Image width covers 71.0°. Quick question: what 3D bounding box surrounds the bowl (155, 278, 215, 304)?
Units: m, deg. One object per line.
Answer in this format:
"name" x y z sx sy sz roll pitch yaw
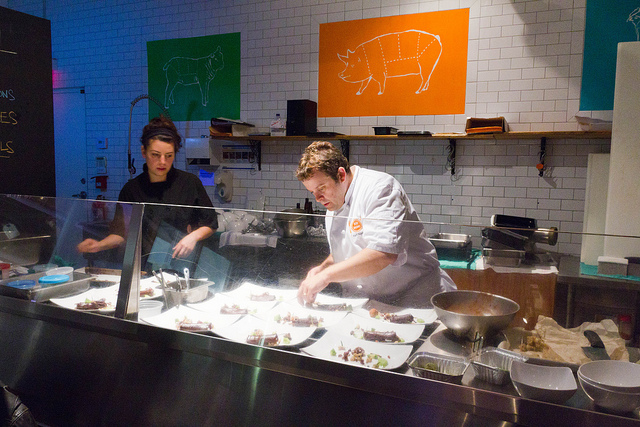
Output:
"bowl" -0.671 0.404 2.301 0.182 0.065 0.141 0 -1 11

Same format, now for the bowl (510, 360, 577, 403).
"bowl" 0.908 0.701 1.849 0.241 0.095 0.166 4 16 24

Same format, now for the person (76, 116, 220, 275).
"person" -1.044 -0.184 2.824 0.727 0.954 1.293 1 4 -16

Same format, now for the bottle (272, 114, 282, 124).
"bottle" -0.482 -1.083 5.083 0.095 0.098 0.171 -1 5 -34

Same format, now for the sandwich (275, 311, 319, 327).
"sandwich" -0.109 0.504 2.144 0.216 0.069 0.014 3 4 12

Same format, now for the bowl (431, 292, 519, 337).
"bowl" 0.705 0.450 1.985 0.340 0.126 0.327 3 5 0

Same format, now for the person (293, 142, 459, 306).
"person" 0.262 0.018 2.390 0.779 0.816 0.723 2 4 -3
